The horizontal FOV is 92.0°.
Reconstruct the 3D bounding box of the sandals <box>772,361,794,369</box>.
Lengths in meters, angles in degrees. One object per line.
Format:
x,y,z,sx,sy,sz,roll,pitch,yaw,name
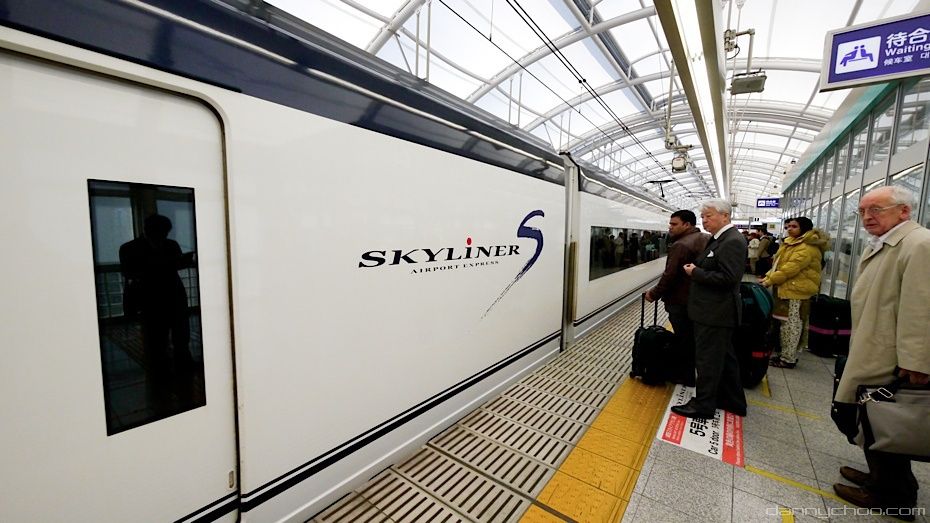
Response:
4.531,1.465,6.430,0.103,0.118,0.286,-3,0,-40,sandals

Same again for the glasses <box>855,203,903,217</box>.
3.918,-0.492,4.245,0.282,0.064,0.205,1,-2,-24,glasses

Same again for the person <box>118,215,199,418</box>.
-2.401,0.419,3.541,0.461,1.578,0.101,-1,4,-10,person

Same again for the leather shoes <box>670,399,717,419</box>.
2.671,1.729,5.362,0.586,0.222,0.205,1,3,26,leather shoes

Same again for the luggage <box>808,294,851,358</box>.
5.582,0.993,6.705,0.496,0.790,0.516,10,-5,-29,luggage

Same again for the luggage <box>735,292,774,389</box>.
3.652,0.968,5.712,0.391,1.243,0.733,3,-1,29,luggage
